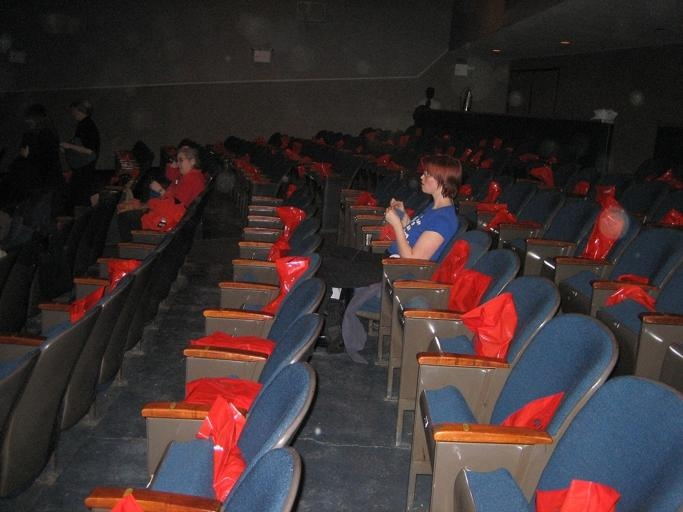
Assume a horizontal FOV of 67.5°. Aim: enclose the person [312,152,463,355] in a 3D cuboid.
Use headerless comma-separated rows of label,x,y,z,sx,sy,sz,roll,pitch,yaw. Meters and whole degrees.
person,0.310,-0.017,3.594,0.858,1.415,0.576,7,27,-4
